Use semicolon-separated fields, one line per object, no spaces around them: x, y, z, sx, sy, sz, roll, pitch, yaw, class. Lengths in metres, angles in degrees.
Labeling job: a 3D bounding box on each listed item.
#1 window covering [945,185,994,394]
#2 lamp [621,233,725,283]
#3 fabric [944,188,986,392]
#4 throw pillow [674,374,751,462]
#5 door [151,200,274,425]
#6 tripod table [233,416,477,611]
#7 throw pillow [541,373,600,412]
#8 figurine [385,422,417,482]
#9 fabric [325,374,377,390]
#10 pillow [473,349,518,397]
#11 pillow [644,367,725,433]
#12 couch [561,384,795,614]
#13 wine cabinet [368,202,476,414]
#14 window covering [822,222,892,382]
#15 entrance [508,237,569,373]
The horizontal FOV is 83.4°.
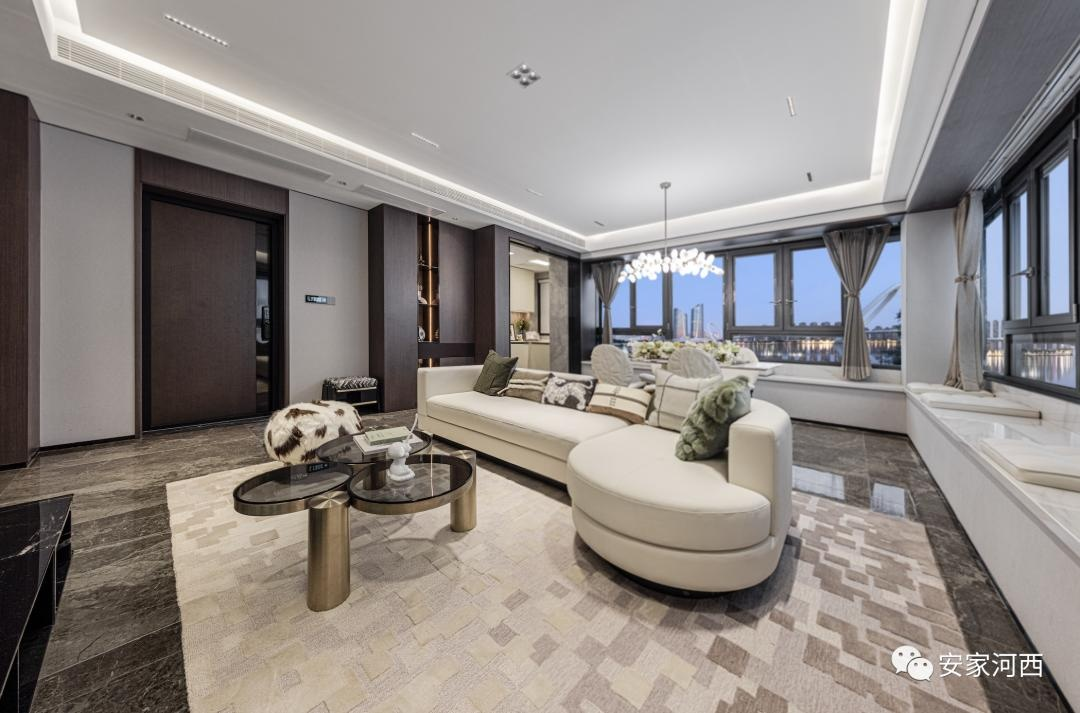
4.503;-0.616;6.314;0.304;1.874;0.467;2;-9;21;window covering
1.775;-1.329;8.315;1.173;0.530;1.585;-1;3;7;lamp
4.445;-0.616;6.303;0.304;2.004;0.481;-3;13;25;fabric
1.216;0.419;4.714;0.198;0.621;0.608;32;23;32;throw pillow
-3.788;-0.495;6.928;1.353;2.509;0.208;-4;4;-36;door
-1.369;1.048;4.454;1.159;0.583;1.631;5;7;36;tripod table
0.311;0.343;5.970;0.456;0.330;0.139;9;-19;42;throw pillow
-1.058;0.728;4.681;0.220;0.414;0.234;6;4;-8;figurine
-2.349;0.347;7.647;0.642;0.155;0.295;-3;3;-28;fabric
-0.496;0.196;6.671;0.285;0.459;0.506;2;6;-35;pillow
1.212;0.381;5.026;0.170;0.446;0.455;24;-7;-38;pillow
1.160;0.886;5.113;1.898;1.345;1.897;11;22;35;couch
-1.632;-0.648;8.383;1.517;2.660;0.388;-5;5;-44;wine cabinet
4.003;-0.664;7.631;0.723;1.929;0.379;0;4;26;window covering
0.056;-0.801;11.168;1.094;2.038;2.445;-2;3;-3;entrance
